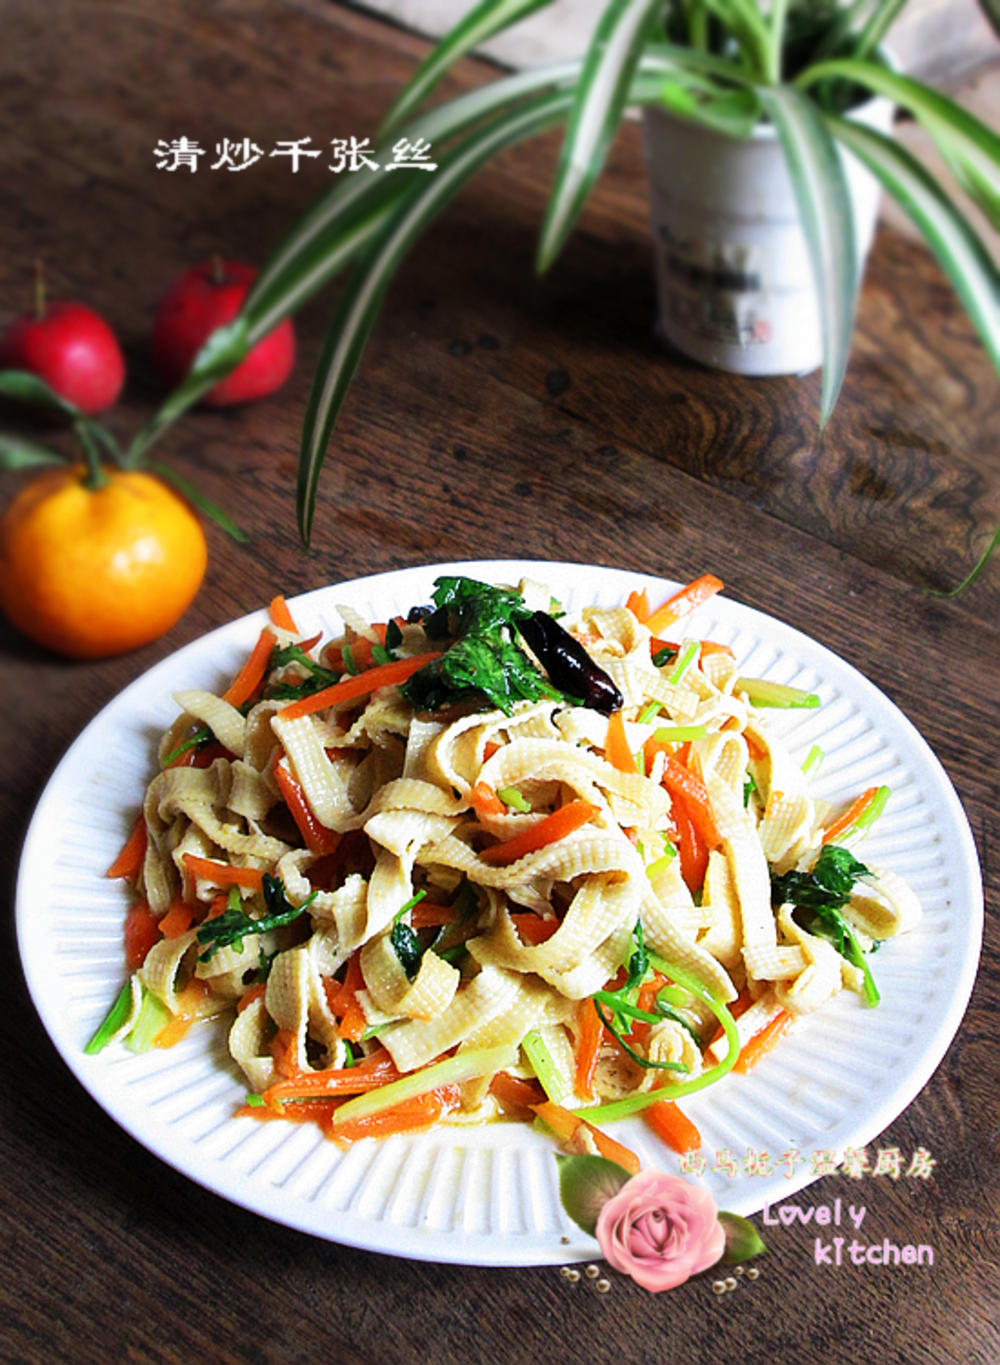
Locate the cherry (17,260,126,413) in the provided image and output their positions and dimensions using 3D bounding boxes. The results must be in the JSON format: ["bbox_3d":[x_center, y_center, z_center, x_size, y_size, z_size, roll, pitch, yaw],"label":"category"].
[{"bbox_3d":[-0.319,-0.269,0.979,0.097,0.114,0.051,20,31,37],"label":"cherry"}]

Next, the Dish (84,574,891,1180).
[{"bbox_3d":[-0.007,0.194,1.084,0.594,0.152,0.540,-10,52,-16],"label":"Dish"}]
